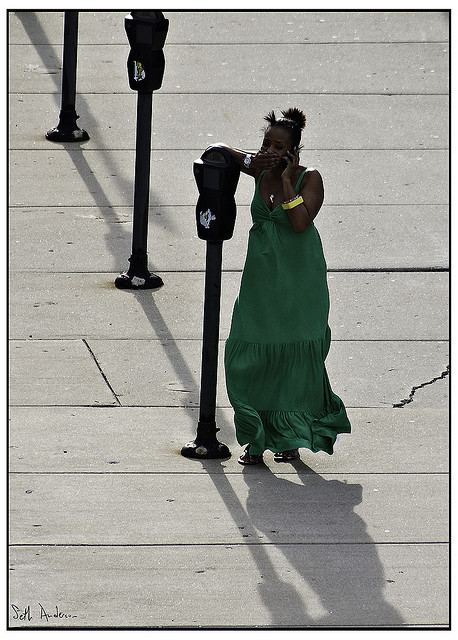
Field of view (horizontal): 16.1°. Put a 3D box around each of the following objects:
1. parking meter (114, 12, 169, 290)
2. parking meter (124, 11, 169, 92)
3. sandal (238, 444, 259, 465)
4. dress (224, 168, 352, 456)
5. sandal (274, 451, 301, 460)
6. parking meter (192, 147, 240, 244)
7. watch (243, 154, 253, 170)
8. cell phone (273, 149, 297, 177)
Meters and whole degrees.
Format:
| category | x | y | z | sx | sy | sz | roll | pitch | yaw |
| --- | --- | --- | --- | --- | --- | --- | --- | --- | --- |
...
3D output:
| category | x | y | z | sx | sy | sz | roll | pitch | yaw |
| --- | --- | --- | --- | --- | --- | --- | --- | --- | --- |
| parking meter | -0.533 | -1.067 | 10.032 | 0.311 | 1.719 | 0.322 | 5 | 5 | 27 |
| parking meter | -0.519 | -1.649 | 9.917 | 0.255 | 0.500 | 0.288 | 4 | 5 | -5 |
| sandal | 0.113 | 0.666 | 8.036 | 0.141 | 0.073 | 0.052 | 7 | -5 | -39 |
| dress | 0.327 | -0.031 | 8.003 | 0.566 | 1.344 | 0.654 | 5 | 21 | 8 |
| sandal | 0.295 | 0.667 | 8.072 | 0.110 | 0.049 | 0.045 | -6 | 6 | -2 |
| parking meter | -0.072 | -0.599 | 7.806 | 0.214 | 0.459 | 0.258 | 4 | 5 | -1 |
| watch | 0.084 | -0.759 | 7.713 | 0.018 | 0.055 | 0.048 | 7 | 5 | -23 |
| cell phone | 0.261 | -0.736 | 7.650 | 0.041 | 0.117 | 0.084 | 36 | 14 | 22 |
